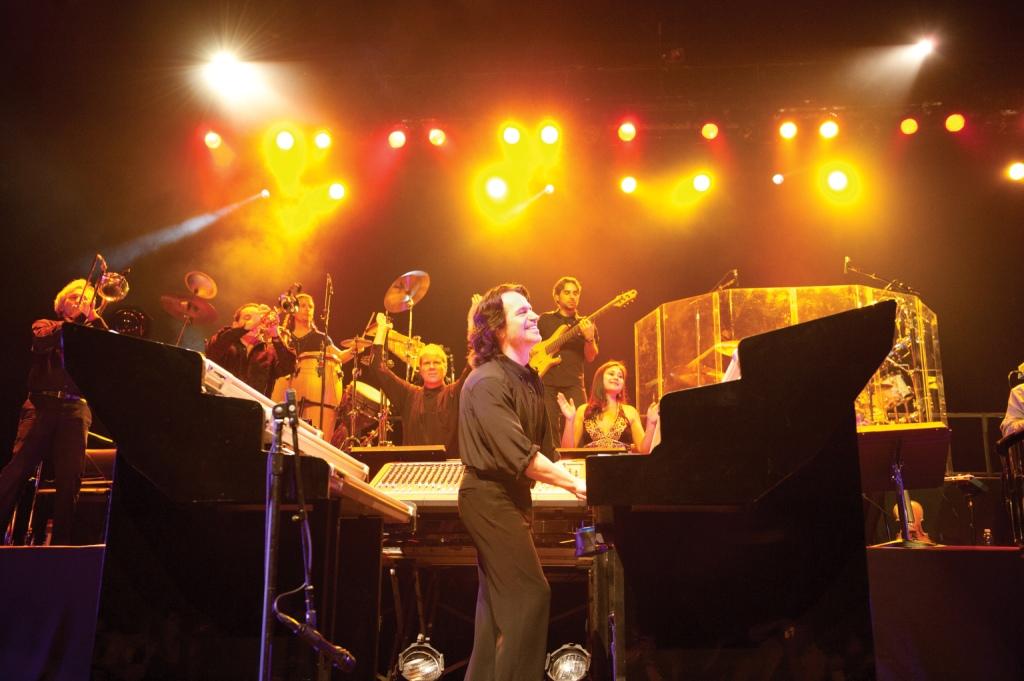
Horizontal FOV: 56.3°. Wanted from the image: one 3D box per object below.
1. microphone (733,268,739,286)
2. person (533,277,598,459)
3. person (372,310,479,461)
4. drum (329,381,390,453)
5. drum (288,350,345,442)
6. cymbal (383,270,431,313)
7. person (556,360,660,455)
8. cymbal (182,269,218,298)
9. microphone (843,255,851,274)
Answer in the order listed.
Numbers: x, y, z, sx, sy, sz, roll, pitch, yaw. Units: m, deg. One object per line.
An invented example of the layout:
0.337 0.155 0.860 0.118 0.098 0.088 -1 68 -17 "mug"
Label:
3.015 -0.865 12.826 0.060 0.218 0.116 -2 -8 33 "microphone"
0.721 0.250 12.215 0.530 2.457 0.536 0 0 -10 "person"
-1.091 0.622 12.030 0.844 1.965 0.937 1 -1 -36 "person"
-1.856 0.954 12.036 0.543 0.942 0.519 1 -1 0 "drum"
-2.435 0.598 11.938 0.660 1.440 0.659 2 3 0 "drum"
-1.377 -0.636 12.484 0.551 0.511 0.650 3 -7 -9 "cymbal"
1.132 0.856 11.594 0.963 1.204 0.791 -1 1 3 "person"
-4.107 -0.737 12.611 0.358 0.391 0.125 37 15 -12 "cymbal"
4.510 -1.023 12.837 0.138 0.265 0.042 1 -6 4 "microphone"
